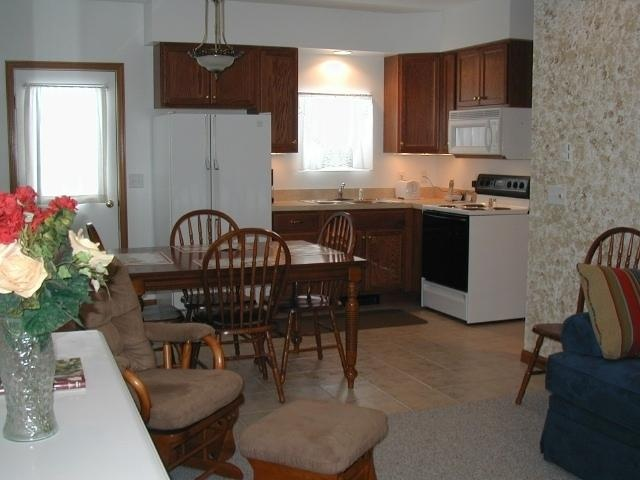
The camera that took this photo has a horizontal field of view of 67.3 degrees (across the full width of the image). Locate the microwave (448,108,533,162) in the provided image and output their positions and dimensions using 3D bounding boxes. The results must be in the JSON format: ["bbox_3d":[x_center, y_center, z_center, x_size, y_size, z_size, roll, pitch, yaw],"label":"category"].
[{"bbox_3d":[1.844,-1.139,5.149,0.542,0.551,0.884,-2,6,-22],"label":"microwave"}]

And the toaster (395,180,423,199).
[{"bbox_3d":[1.108,-0.614,6.018,0.207,0.283,0.360,1,3,-24],"label":"toaster"}]

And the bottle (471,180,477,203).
[{"bbox_3d":[1.814,-0.572,5.660,0.048,0.263,0.142,-1,8,-5],"label":"bottle"}]

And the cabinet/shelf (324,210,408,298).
[{"bbox_3d":[0.440,0.095,4.640,0.894,0.888,0.466,-2,5,-21],"label":"cabinet/shelf"}]

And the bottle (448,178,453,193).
[{"bbox_3d":[1.622,-0.669,5.963,0.056,0.162,0.124,-3,8,-20],"label":"bottle"}]

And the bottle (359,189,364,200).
[{"bbox_3d":[0.507,-0.568,5.930,0.077,0.137,0.159,1,8,6],"label":"bottle"}]

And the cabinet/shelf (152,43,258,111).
[{"bbox_3d":[-1.184,-1.633,4.765,0.893,0.561,0.347,-1,6,-16],"label":"cabinet/shelf"}]

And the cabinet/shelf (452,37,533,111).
[{"bbox_3d":[1.803,-1.736,5.119,0.817,0.693,0.297,7,10,43],"label":"cabinet/shelf"}]

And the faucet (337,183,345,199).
[{"bbox_3d":[0.258,-0.601,5.880,0.095,0.199,0.183,1,8,7],"label":"faucet"}]

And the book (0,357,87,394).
[{"bbox_3d":[-0.678,0.337,1.175,0.132,0.032,0.123,-1,11,-18],"label":"book"}]

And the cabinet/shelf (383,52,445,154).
[{"bbox_3d":[1.084,-1.612,5.701,0.707,1.143,0.270,2,8,17],"label":"cabinet/shelf"}]

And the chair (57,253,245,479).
[{"bbox_3d":[-0.770,0.577,2.596,1.056,1.241,0.844,3,6,32],"label":"chair"}]
